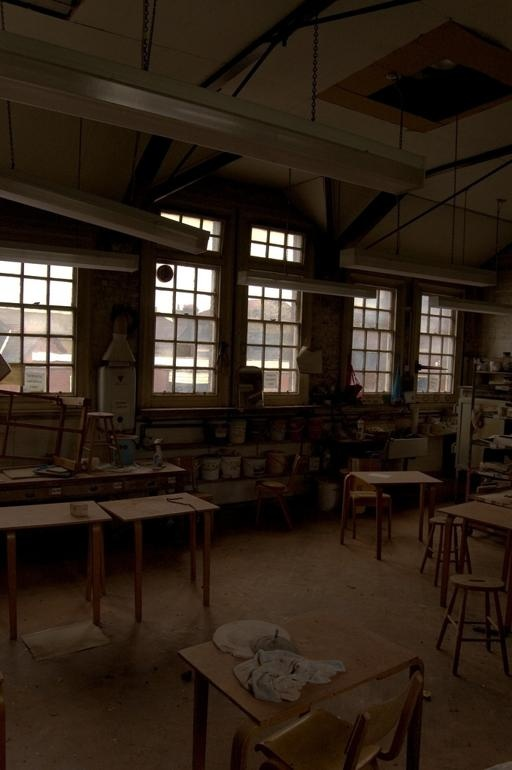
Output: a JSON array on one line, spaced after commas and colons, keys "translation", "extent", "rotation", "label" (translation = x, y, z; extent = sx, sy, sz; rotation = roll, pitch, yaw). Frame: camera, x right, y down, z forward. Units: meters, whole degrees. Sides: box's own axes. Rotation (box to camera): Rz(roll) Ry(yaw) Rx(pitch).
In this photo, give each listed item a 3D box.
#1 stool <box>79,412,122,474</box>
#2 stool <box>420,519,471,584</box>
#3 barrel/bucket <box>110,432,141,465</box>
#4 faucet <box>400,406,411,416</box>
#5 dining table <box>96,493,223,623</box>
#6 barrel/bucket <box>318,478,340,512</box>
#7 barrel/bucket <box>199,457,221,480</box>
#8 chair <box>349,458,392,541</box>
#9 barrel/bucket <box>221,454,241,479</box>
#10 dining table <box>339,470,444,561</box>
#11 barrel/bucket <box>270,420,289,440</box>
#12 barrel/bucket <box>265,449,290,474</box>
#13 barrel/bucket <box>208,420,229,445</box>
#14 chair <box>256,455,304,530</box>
[{"translation": [-1.534, 0.537, 5.796], "extent": [0.474, 0.538, 0.473], "rotation": [1, 3, 4], "label": "stool"}, {"translation": [1.889, 1.585, 5.757], "extent": [0.465, 0.547, 0.454], "rotation": [4, 2, -33], "label": "stool"}, {"translation": [-1.300, 0.624, 5.907], "extent": [0.299, 0.304, 0.303], "rotation": [-1, -1, 0], "label": "barrel/bucket"}, {"translation": [2.412, 0.408, 9.543], "extent": [0.181, 0.162, 0.044], "rotation": [4, 1, -45], "label": "faucet"}, {"translation": [-0.734, 1.301, 4.968], "extent": [0.678, 0.993, 1.055], "rotation": [-2, 2, -27], "label": "dining table"}, {"translation": [0.993, 1.497, 8.024], "extent": [0.295, 0.407, 0.252], "rotation": [2, 1, -3], "label": "barrel/bucket"}, {"translation": [-0.543, 1.017, 7.309], "extent": [0.262, 0.274, 0.279], "rotation": [1, 5, 0], "label": "barrel/bucket"}, {"translation": [1.426, 1.391, 7.383], "extent": [0.501, 0.926, 0.539], "rotation": [-1, 2, 3], "label": "chair"}, {"translation": [-0.322, 1.023, 7.462], "extent": [0.268, 0.290, 0.269], "rotation": [1, 4, 0], "label": "barrel/bucket"}, {"translation": [1.423, 1.432, 6.615], "extent": [1.016, 0.964, 1.149], "rotation": [10, -15, -14], "label": "dining table"}, {"translation": [0.308, 0.597, 8.039], "extent": [0.239, 0.263, 0.262], "rotation": [-1, 0, 0], "label": "barrel/bucket"}, {"translation": [0.287, 1.020, 7.921], "extent": [0.283, 0.252, 0.287], "rotation": [-1, 2, 0], "label": "barrel/bucket"}, {"translation": [-0.500, 0.579, 7.469], "extent": [0.271, 0.293, 0.272], "rotation": [0, 9, 0], "label": "barrel/bucket"}, {"translation": [0.232, 1.291, 7.296], "extent": [0.525, 0.805, 0.518], "rotation": [-3, 5, -6], "label": "chair"}]
